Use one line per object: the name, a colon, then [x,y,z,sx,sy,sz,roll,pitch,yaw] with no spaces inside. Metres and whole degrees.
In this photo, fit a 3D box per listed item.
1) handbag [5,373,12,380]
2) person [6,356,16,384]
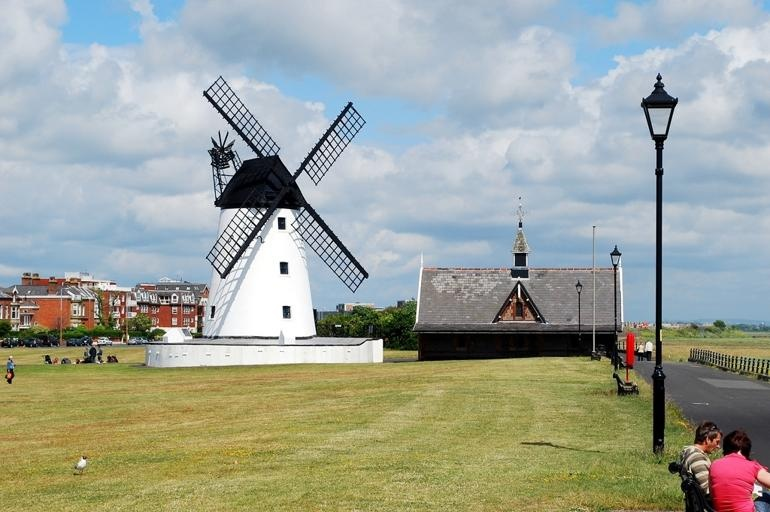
handbag: [-23.418,7.623,51.767,0.417,0.199,0.568,-3,9,-7]
person: [-23.490,7.210,52.005,0.533,1.532,3.559,4,-9,-24]
